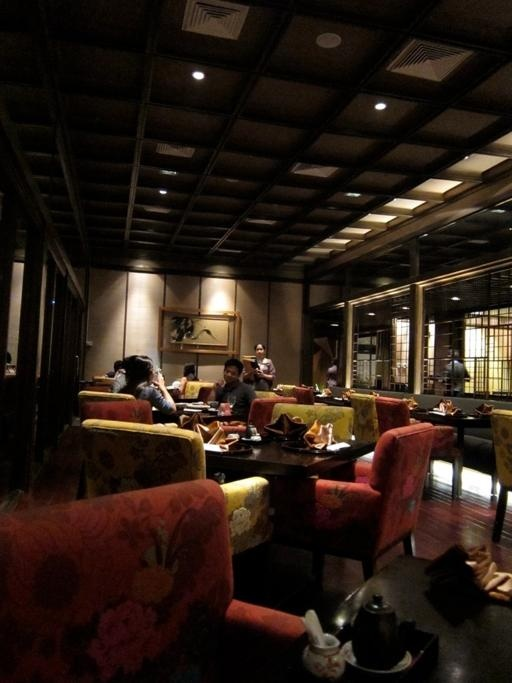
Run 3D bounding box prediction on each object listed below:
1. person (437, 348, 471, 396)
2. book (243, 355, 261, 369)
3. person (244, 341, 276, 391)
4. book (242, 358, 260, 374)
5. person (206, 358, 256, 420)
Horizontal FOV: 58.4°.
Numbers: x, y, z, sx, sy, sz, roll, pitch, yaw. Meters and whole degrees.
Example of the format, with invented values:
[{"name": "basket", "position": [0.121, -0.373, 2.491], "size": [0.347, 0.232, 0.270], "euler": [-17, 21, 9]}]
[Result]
[{"name": "person", "position": [3.001, 0.600, 6.705], "size": [0.238, 0.811, 0.283], "euler": [-4, -4, -24]}, {"name": "book", "position": [-0.094, 0.413, 8.828], "size": [0.303, 0.306, 0.109], "euler": [6, 25, 32]}, {"name": "person", "position": [0.083, 0.647, 8.446], "size": [0.509, 1.200, 0.617], "euler": [5, -9, -20]}, {"name": "book", "position": [-0.090, 0.454, 8.673], "size": [0.350, 0.353, 0.096], "euler": [9, 25, 36]}, {"name": "person", "position": [-0.240, 0.591, 4.758], "size": [0.461, 0.863, 0.287], "euler": [9, 17, 18]}]
